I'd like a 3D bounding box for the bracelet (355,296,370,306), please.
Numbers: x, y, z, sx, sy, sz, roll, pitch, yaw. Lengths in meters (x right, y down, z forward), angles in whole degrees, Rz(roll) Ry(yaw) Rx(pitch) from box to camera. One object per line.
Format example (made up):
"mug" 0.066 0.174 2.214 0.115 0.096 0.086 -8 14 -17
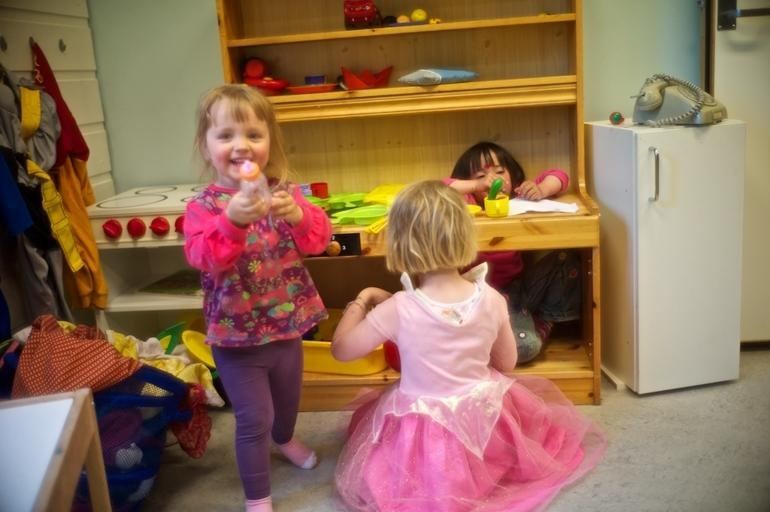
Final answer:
"bracelet" -0.088 0.159 2.046 0.031 0.024 0.032 8 22 19

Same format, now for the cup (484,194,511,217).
"cup" 0.441 -0.203 2.291 0.081 0.064 0.085 -5 14 1

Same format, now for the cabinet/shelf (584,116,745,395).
"cabinet/shelf" 1.163 0.004 2.379 0.557 1.068 0.359 -1 17 15

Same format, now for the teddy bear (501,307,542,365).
"teddy bear" 0.604 0.306 2.482 0.168 0.100 0.245 14 53 14

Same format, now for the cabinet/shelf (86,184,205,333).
"cabinet/shelf" -1.075 0.002 2.563 0.596 0.579 0.475 -2 14 -4

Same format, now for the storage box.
"storage box" -0.170 0.369 2.476 0.277 0.099 0.238 0 8 8

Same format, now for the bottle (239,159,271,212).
"bottle" -0.373 -0.199 1.648 0.064 0.065 0.155 -37 -10 -9

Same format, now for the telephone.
"telephone" 1.196 -0.644 2.366 0.309 0.204 0.387 11 22 39

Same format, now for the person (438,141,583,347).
"person" 0.517 -0.050 2.605 0.622 0.934 0.549 -12 15 -15

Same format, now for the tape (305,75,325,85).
"tape" -0.315 -0.765 2.527 0.064 0.027 0.056 -1 17 -2

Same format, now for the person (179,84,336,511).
"person" -0.414 0.150 1.927 0.380 1.384 0.451 4 19 30
